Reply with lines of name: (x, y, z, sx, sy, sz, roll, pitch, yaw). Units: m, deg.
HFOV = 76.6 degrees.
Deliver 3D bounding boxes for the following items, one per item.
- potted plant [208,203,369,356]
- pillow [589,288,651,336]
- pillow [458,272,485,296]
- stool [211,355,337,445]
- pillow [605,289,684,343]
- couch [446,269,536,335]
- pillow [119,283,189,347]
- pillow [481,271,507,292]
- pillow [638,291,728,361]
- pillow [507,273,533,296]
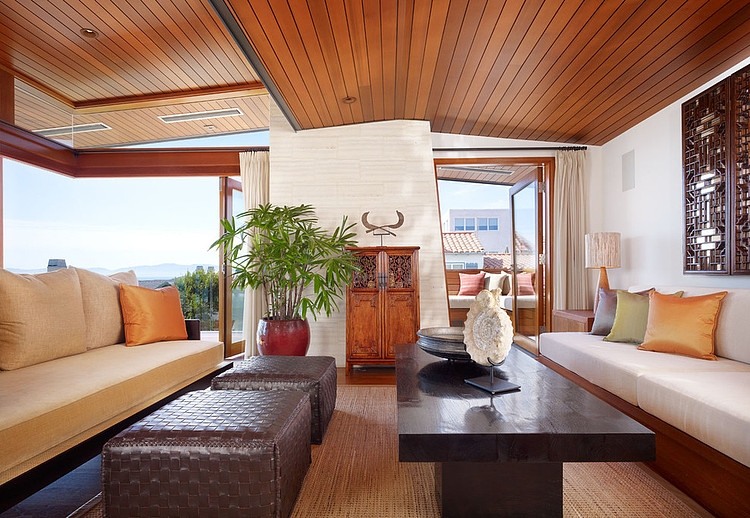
potted plant: (-1.010, 0.143, 5.897, 2.404, 2.033, 1.792, 1, -4, -9)
pillow: (2.328, 0.496, 4.625, 0.542, 0.440, 0.196, 3, 12, -11)
pillow: (1.614, 0.411, 7.965, 0.453, 0.369, 0.152, 0, -20, 9)
stool: (-0.812, 1.105, 3.992, 0.872, 0.465, 1.116, 4, -3, 1)
pillow: (2.263, 0.493, 4.272, 0.563, 0.471, 0.193, 6, 13, -23)
couch: (1.747, 0.627, 7.473, 1.127, 0.903, 2.405, -1, 0, 7)
pillow: (-1.948, 0.490, 4.210, 0.288, 0.486, 0.627, 10, 2, 18)
pillow: (1.840, 0.340, 7.407, 0.131, 0.237, 0.363, 32, -19, -27)
pillow: (2.487, 0.511, 3.881, 0.327, 0.464, 0.592, -11, 4, -22)
pillow: (2.085, 0.354, 6.810, 0.156, 0.352, 0.401, 3, -3, -27)
